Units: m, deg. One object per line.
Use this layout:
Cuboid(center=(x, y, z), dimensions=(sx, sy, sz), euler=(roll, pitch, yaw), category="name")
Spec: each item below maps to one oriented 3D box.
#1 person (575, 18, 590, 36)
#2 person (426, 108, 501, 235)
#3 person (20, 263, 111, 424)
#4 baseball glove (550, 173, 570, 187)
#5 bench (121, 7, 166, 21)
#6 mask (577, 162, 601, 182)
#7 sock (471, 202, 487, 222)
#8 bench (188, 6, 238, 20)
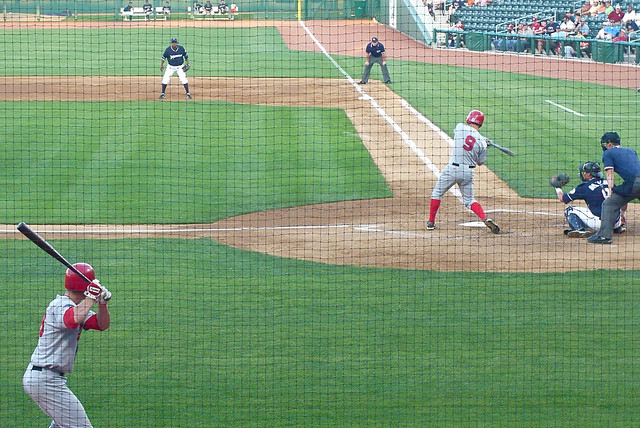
Cuboid(center=(10.761, -7.652, 51.227), dimensions=(0.429, 0.622, 1.143), euler=(1, 12, -8), category="person")
Cuboid(center=(3.422, -0.983, 28.943), dimensions=(1.788, 2.839, 1.158), euler=(5, 14, 10), category="person")
Cuboid(center=(-4.668, 2.449, 22.960), dimensions=(1.094, 2.769, 1.027), euler=(9, 15, 23), category="person")
Cuboid(center=(5.622, -0.789, 28.959), dimensions=(0.478, 0.255, 0.200), euler=(-25, 10, 2), category="baseball glove")
Cuboid(center=(-9.816, -11.033, 68.647), dimensions=(1.122, 0.668, 3.053), euler=(11, 14, 34), category="bench")
Cuboid(center=(6.183, -0.980, 29.010), dimensions=(0.386, 0.517, 0.902), euler=(2, 12, -6), category="mask")
Cuboid(center=(3.673, -0.060, 28.708), dimensions=(0.378, 0.436, 0.328), euler=(9, 15, 25), category="sock")
Cuboid(center=(-6.073, -11.424, 70.862), dimensions=(2.827, 0.679, 2.399), euler=(1, 12, -5), category="bench")
